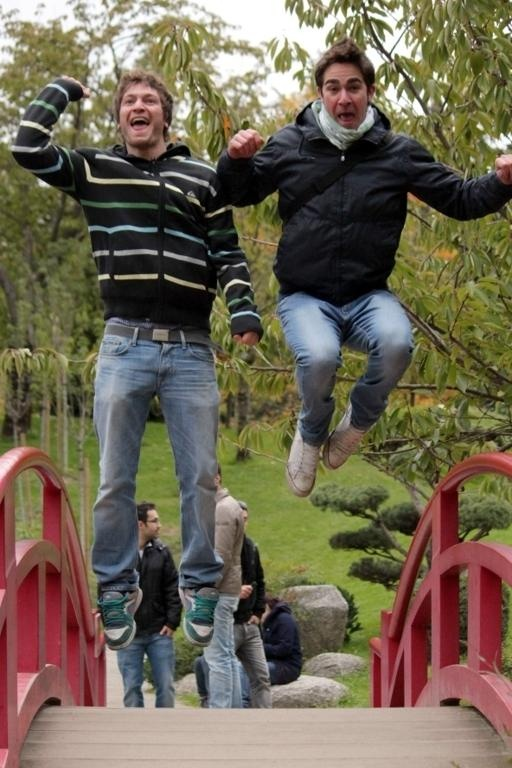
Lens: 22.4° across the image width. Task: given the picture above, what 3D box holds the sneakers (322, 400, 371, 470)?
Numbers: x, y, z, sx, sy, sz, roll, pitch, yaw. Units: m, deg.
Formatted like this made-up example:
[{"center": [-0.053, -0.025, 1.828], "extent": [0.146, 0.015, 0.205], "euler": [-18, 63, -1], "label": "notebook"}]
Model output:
[{"center": [0.350, 0.253, 5.706], "extent": [0.158, 0.137, 0.436], "euler": [12, -34, 29], "label": "sneakers"}]

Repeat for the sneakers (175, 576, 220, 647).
[{"center": [-0.231, 0.911, 5.211], "extent": [0.106, 0.129, 0.304], "euler": [6, 24, -9], "label": "sneakers"}]

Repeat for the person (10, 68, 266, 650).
[{"center": [-0.466, -0.098, 5.183], "extent": [0.957, 2.304, 0.378], "euler": [4, -1, -1], "label": "person"}]

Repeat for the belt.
[{"center": [-0.384, -0.201, 5.188], "extent": [0.433, 0.132, 0.149], "euler": [3, -1, -7], "label": "belt"}]

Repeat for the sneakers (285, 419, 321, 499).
[{"center": [0.189, 0.313, 5.747], "extent": [0.118, 0.370, 0.160], "euler": [14, -36, -11], "label": "sneakers"}]
